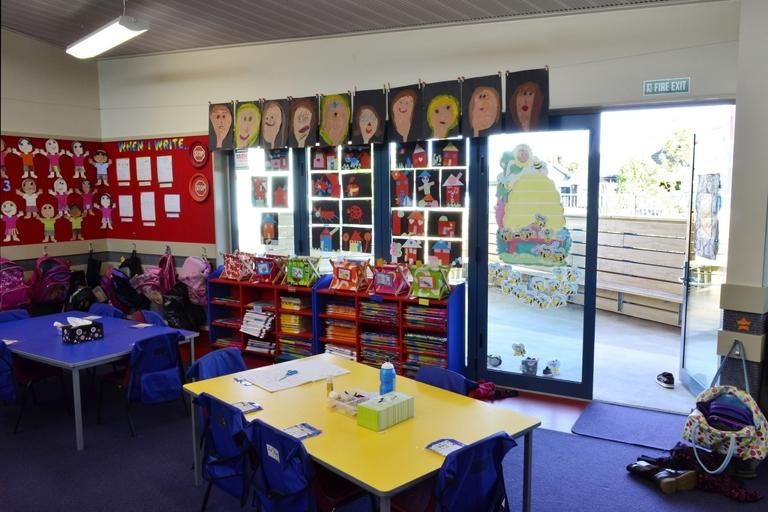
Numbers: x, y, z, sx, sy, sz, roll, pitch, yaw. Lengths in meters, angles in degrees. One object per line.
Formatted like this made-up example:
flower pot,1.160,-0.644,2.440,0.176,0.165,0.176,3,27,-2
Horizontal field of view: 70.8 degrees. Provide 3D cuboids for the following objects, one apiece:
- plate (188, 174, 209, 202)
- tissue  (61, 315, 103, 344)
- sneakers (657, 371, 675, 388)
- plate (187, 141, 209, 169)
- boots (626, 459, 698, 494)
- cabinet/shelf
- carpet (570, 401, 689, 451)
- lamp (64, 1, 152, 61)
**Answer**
plate,-2.707,-1.010,7.955,0.345,0.390,0.372,4,5,17
tissue ,-3.381,0.812,5.976,0.329,0.237,0.334,4,5,31
sneakers,3.471,1.512,6.660,0.204,0.139,0.283,8,18,28
plate,-2.709,-1.504,7.910,0.364,0.426,0.049,8,11,25
boots,2.584,2.059,5.044,0.583,0.158,0.275,9,18,30
cabinet/shelf,-0.712,0.801,7.140,3.443,1.173,0.793,3,7,24
carpet,2.658,1.829,5.858,1.157,0.037,0.780,5,17,20
lamp,-3.049,-2.432,5.944,1.113,0.354,0.283,10,18,33
